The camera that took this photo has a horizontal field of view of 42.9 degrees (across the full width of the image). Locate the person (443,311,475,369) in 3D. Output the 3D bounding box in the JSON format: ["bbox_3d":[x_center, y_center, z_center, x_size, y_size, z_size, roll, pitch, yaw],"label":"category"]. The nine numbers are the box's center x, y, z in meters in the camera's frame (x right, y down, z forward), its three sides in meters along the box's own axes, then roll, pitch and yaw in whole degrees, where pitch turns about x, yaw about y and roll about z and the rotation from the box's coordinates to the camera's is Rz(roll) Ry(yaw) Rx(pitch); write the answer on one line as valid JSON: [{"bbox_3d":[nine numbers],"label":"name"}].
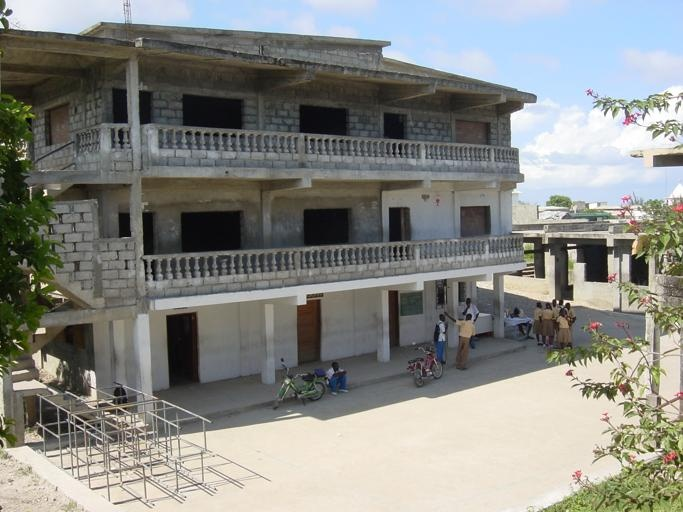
[{"bbox_3d":[4.005,2.903,29.597,1.337,2.109,0.876,4,21,9],"label":"person"}]

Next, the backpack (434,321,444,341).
[{"bbox_3d":[3.172,2.410,28.205,0.335,0.680,0.365,-2,4,5],"label":"backpack"}]

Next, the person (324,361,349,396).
[{"bbox_3d":[-0.168,3.597,26.132,0.661,0.939,0.512,4,9,35],"label":"person"}]

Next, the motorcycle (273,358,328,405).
[{"bbox_3d":[-1.199,3.625,25.016,1.750,1.339,0.820,-4,19,-33],"label":"motorcycle"}]

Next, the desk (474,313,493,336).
[{"bbox_3d":[5.294,2.523,32.629,0.995,0.728,0.534,-3,4,-42],"label":"desk"}]

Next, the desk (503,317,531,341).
[{"bbox_3d":[6.807,2.676,33.407,0.993,0.769,1.258,-1,4,11],"label":"desk"}]

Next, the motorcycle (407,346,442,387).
[{"bbox_3d":[2.652,3.360,27.252,0.795,1.047,1.612,-8,-15,-32],"label":"motorcycle"}]

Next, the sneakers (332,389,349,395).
[{"bbox_3d":[-0.040,4.047,26.045,0.463,0.208,0.160,7,-4,-26],"label":"sneakers"}]
